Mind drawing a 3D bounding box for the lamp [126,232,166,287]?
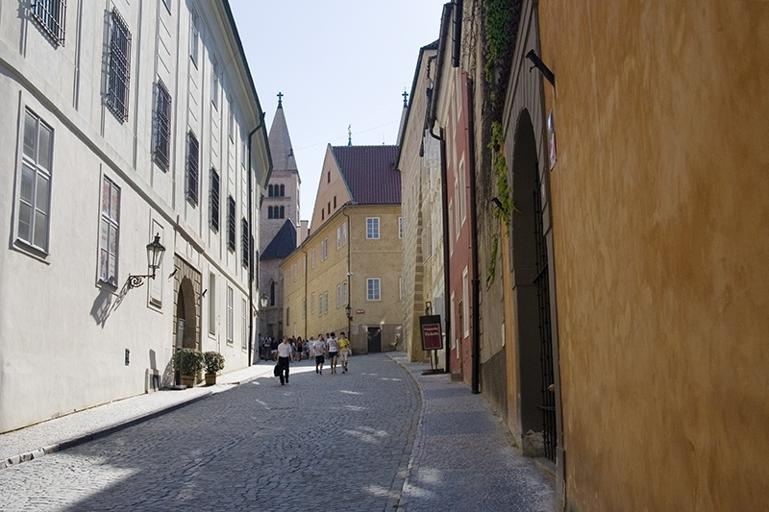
[{"bbox_3d":[-5.992,0.048,18.935,0.824,1.529,0.483,5,-9,-14],"label":"lamp"}]

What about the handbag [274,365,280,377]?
[{"bbox_3d":[-3.316,3.484,23.110,0.147,0.280,0.423,0,-4,-12],"label":"handbag"}]
